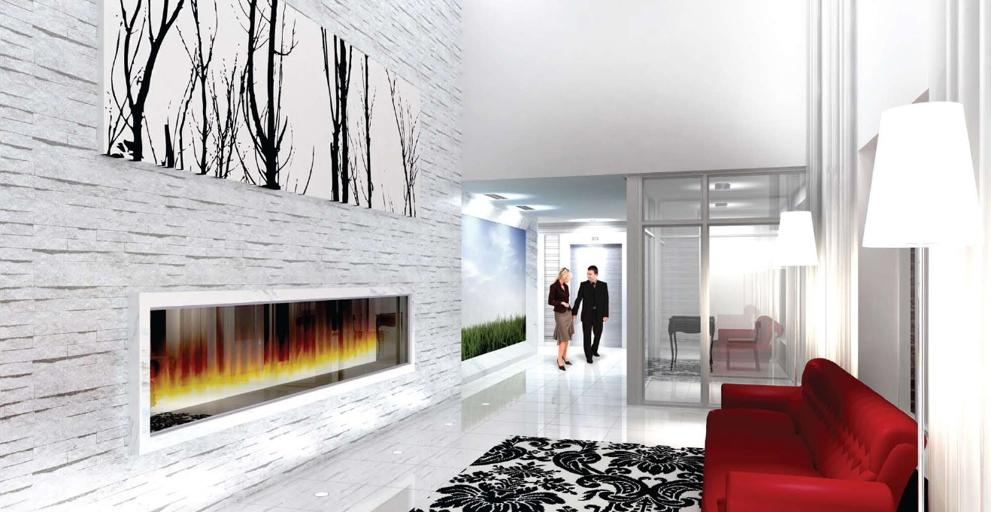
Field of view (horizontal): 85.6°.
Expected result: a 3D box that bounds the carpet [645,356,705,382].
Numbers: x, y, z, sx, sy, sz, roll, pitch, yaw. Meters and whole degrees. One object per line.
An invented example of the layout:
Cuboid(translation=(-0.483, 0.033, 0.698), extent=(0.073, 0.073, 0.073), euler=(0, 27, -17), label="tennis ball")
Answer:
Cuboid(translation=(2.631, 1.670, 7.916), extent=(0.464, 0.415, 0.116), euler=(2, 9, 13), label="carpet")

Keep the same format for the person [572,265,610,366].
Cuboid(translation=(2.052, 1.254, 11.777), extent=(0.709, 2.096, 1.309), euler=(-1, 3, 9), label="person")

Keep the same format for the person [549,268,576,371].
Cuboid(translation=(1.333, 1.268, 11.065), extent=(0.492, 2.037, 1.116), euler=(-1, 3, 5), label="person")

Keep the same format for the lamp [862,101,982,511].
Cuboid(translation=(2.850, 0.405, 3.590), extent=(0.556, 2.844, 0.910), euler=(1, 4, 40), label="lamp")

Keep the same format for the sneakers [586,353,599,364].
Cuboid(translation=(2.068, 2.207, 11.566), extent=(0.169, 0.180, 0.493), euler=(-3, -11, 6), label="sneakers")
